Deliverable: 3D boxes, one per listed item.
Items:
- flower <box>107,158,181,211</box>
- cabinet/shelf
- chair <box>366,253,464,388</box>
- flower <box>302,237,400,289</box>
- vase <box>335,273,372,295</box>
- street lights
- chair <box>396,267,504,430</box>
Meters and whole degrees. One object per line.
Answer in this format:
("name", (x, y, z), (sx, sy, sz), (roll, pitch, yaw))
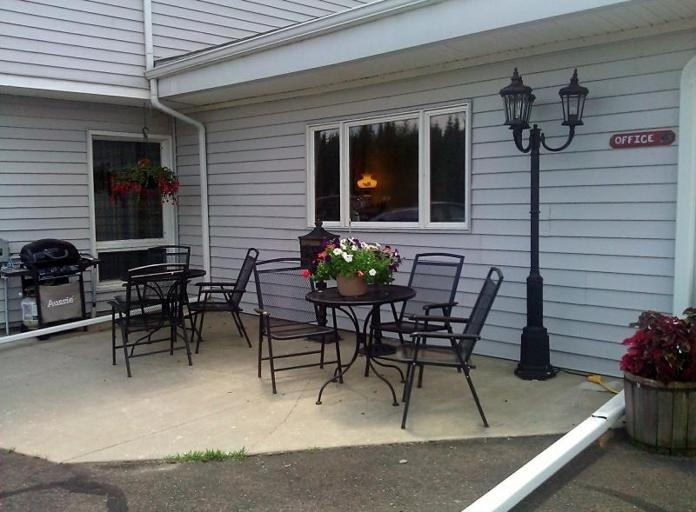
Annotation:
("flower", (-2.913, -1.016, 7.813), (0.819, 0.483, 0.735), (3, 5, 40))
("cabinet/shelf", (-3.685, 0.506, 6.818), (0.554, 0.885, 1.192), (2, 4, 40))
("chair", (0.547, 0.385, 5.647), (0.923, 1.277, 1.115), (2, 2, 44))
("flower", (0.074, 0.083, 4.988), (0.778, 0.478, 0.480), (-7, 13, -27))
("vase", (0.043, 0.241, 4.874), (0.245, 0.126, 0.227), (-1, 0, 23))
("street lights", (1.735, -0.294, 5.119), (0.671, 2.770, 0.810), (5, 15, 26))
("chair", (0.882, 0.695, 4.792), (0.815, 1.113, 1.618), (2, 12, 15))
